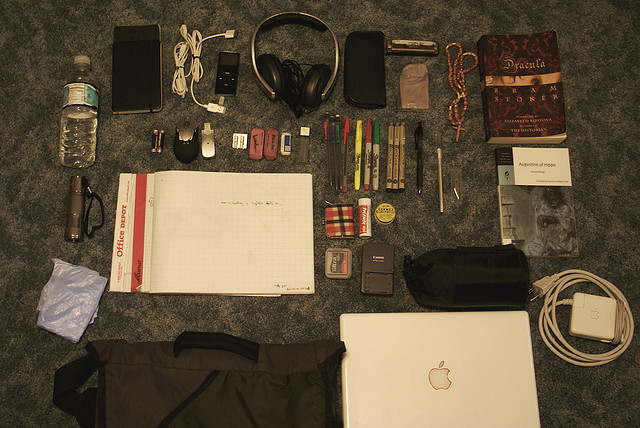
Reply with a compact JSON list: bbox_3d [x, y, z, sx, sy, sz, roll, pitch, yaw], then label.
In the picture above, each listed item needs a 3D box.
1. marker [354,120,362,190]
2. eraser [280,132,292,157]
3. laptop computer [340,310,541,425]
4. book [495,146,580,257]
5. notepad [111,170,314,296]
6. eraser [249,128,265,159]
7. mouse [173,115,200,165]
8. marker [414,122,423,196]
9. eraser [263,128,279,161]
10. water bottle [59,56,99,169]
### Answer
[{"bbox_3d":[0.154,-0.251,2.693,0.030,0.041,0.274,1,88,-7],"label":"marker"},{"bbox_3d":[-0.144,-0.285,2.679,0.042,0.020,0.086,1,84,6],"label":"eraser"},{"bbox_3d":[0.468,0.601,2.549,0.763,0.016,0.434,0,80,-2],"label":"laptop computer"},{"bbox_3d":[0.839,-0.042,2.826,0.309,0.448,0.456,-4,87,6],"label":"book"},{"bbox_3d":[-0.423,0.071,2.626,0.808,0.064,0.494,1,80,-1],"label":"notepad"},{"bbox_3d":[-0.262,-0.291,2.690,0.052,0.027,0.119,3,84,2],"label":"eraser"},{"bbox_3d":[-0.538,-0.303,2.670,0.101,0.057,0.183,4,90,-7],"label":"mouse"},{"bbox_3d":[0.414,-0.231,2.716,0.044,0.037,0.306,3,97,25],"label":"marker"},{"bbox_3d":[-0.198,-0.293,2.699,0.062,0.016,0.132,7,87,4],"label":"eraser"},{"bbox_3d":[-0.996,-0.426,2.687,0.159,0.096,0.467,0,80,-1],"label":"water bottle"}]
